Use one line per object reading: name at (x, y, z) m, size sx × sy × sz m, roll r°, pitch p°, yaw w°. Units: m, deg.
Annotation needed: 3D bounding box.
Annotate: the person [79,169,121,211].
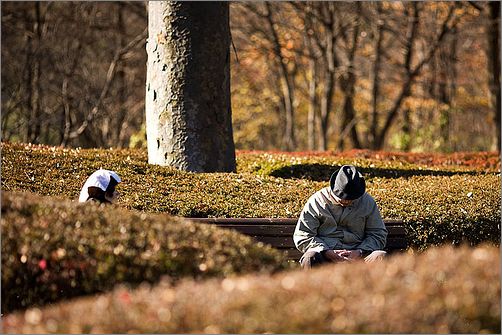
person at (-4.106, 0.483, 27.416) m, size 1.030 × 1.026 × 0.794 m, roll 6°, pitch -2°, yaw -2°
